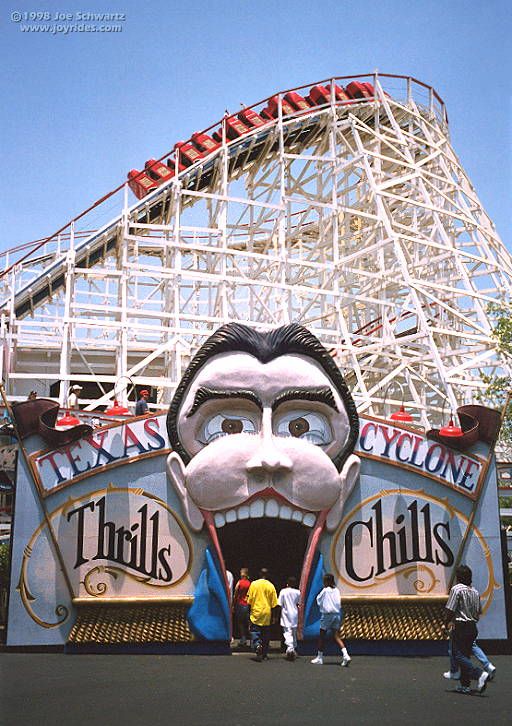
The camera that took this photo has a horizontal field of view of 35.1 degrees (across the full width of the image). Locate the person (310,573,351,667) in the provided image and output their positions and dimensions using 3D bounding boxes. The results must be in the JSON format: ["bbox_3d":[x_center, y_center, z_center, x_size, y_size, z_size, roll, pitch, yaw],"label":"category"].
[{"bbox_3d":[0.956,3.340,10.553,0.483,1.192,1.444,0,-9,6],"label":"person"}]

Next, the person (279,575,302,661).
[{"bbox_3d":[0.440,3.389,10.784,0.288,1.045,0.782,0,-9,3],"label":"person"}]

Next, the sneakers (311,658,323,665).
[{"bbox_3d":[0.755,3.768,10.228,0.171,0.114,0.087,2,-20,11],"label":"sneakers"}]

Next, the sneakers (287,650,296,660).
[{"bbox_3d":[0.451,3.764,10.464,0.107,0.129,0.260,1,-9,0],"label":"sneakers"}]

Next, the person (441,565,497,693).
[{"bbox_3d":[2.136,2.677,8.176,0.406,1.180,0.857,1,-9,0],"label":"person"}]

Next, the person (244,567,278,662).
[{"bbox_3d":[0.082,3.317,10.676,0.398,1.135,1.067,1,-9,1],"label":"person"}]

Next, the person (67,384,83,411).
[{"bbox_3d":[-4.017,0.775,17.869,0.276,0.396,0.813,-6,-45,-14],"label":"person"}]
